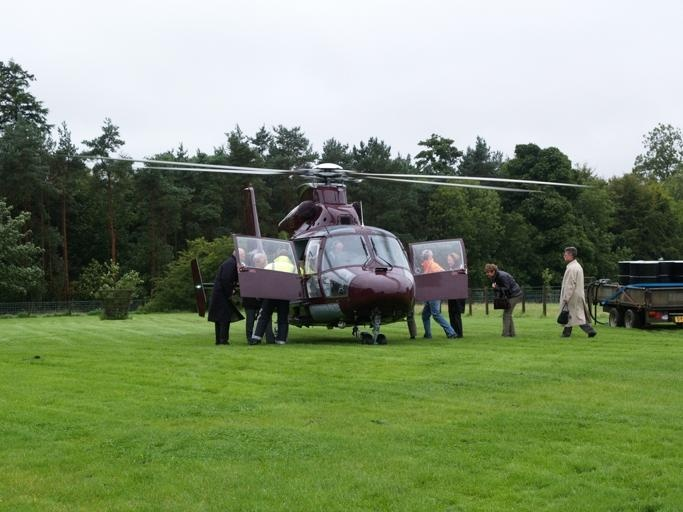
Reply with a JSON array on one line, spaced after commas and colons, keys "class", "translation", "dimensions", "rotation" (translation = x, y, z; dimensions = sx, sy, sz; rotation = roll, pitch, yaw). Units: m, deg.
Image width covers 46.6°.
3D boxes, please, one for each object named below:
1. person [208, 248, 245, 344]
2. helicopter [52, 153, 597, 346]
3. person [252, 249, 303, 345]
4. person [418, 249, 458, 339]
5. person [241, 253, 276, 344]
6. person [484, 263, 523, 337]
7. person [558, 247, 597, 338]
[{"class": "person", "translation": [-2.542, 0.851, 16.901], "dimensions": [0.660, 1.969, 0.751], "rotation": [2, 7, -18]}, {"class": "helicopter", "translation": [-0.908, 0.008, 20.029], "dimensions": [7.820, 2.955, 8.008], "rotation": [1, -2, -29]}, {"class": "person", "translation": [-1.489, 0.966, 17.407], "dimensions": [0.867, 1.974, 1.318], "rotation": [1, 6, 7]}, {"class": "person", "translation": [2.109, 1.085, 18.821], "dimensions": [0.841, 1.759, 1.018], "rotation": [11, -16, -36]}, {"class": "person", "translation": [-1.499, 1.020, 17.456], "dimensions": [0.905, 1.914, 0.483], "rotation": [12, -14, -27]}, {"class": "person", "translation": [3.634, 0.895, 17.987], "dimensions": [0.825, 1.802, 0.783], "rotation": [-1, 5, -26]}, {"class": "person", "translation": [5.228, 0.864, 17.587], "dimensions": [0.736, 2.096, 0.801], "rotation": [-3, 9, -9]}]
